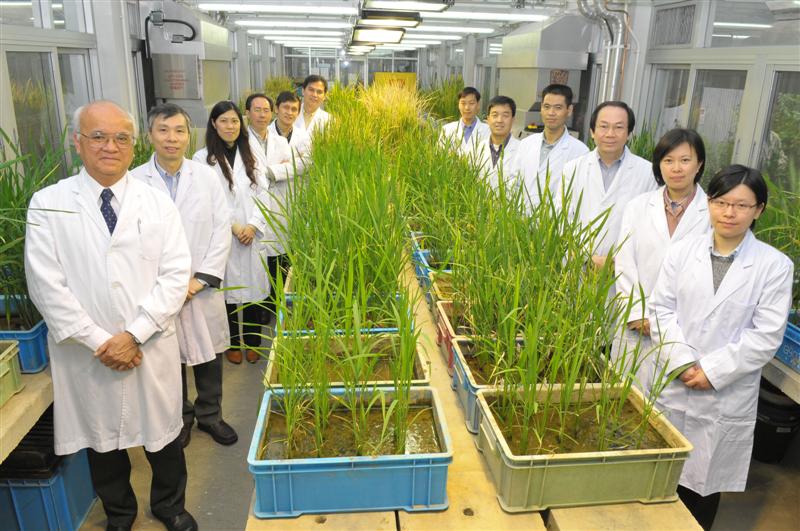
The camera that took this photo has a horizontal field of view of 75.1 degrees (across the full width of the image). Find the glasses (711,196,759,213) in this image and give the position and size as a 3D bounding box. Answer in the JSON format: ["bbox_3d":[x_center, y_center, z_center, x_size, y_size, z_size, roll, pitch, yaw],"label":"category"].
[{"bbox_3d":[1.538,-0.276,2.370,0.173,0.049,0.046,6,19,13],"label":"glasses"}]

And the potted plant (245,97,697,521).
[{"bbox_3d":[-0.006,0.211,2.725,1.529,0.850,2.124,1,35,-5],"label":"potted plant"}]

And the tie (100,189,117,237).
[{"bbox_3d":[-1.340,-0.247,2.378,0.066,0.189,0.085,-10,21,-29],"label":"tie"}]
